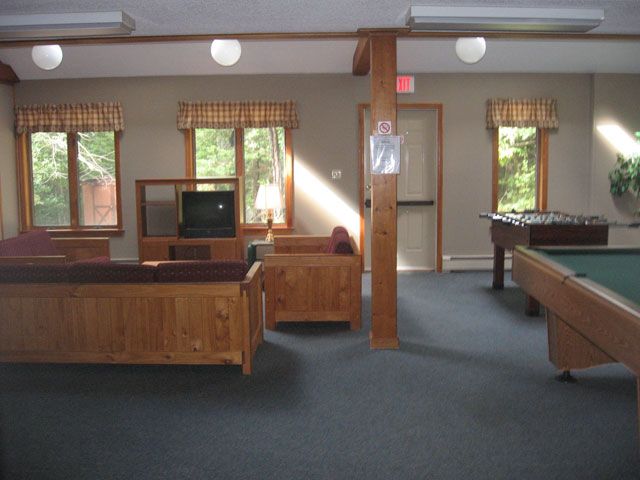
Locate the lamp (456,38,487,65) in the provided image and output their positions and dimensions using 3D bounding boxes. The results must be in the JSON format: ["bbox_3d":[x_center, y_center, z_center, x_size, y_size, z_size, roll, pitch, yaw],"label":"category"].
[{"bbox_3d":[1.511,-1.916,5.455,0.263,0.233,0.228,4,13,20],"label":"lamp"}]

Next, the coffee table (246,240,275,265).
[{"bbox_3d":[-0.828,0.165,7.365,0.344,0.347,0.351,0,-2,-13],"label":"coffee table"}]

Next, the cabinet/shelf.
[{"bbox_3d":[-1.763,-0.256,7.344,1.109,1.086,0.362,0,6,1],"label":"cabinet/shelf"}]

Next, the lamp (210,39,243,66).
[{"bbox_3d":[-0.940,-1.853,5.332,0.263,0.226,0.317,-1,12,0],"label":"lamp"}]

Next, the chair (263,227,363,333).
[{"bbox_3d":[-0.069,0.416,5.615,0.905,0.844,1.328,1,4,4],"label":"chair"}]

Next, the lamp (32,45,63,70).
[{"bbox_3d":[-2.791,-1.883,5.575,0.320,0.221,0.238,9,16,38],"label":"lamp"}]
